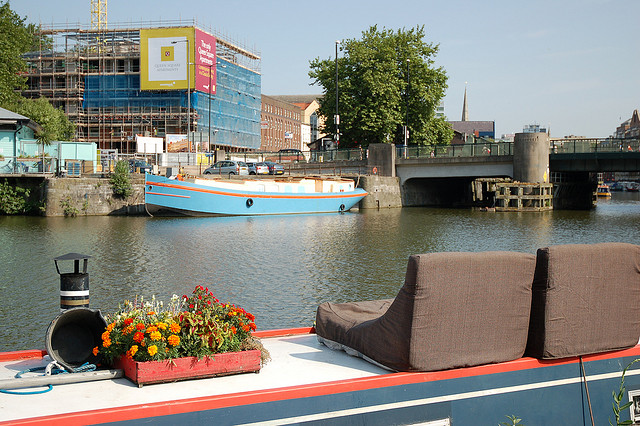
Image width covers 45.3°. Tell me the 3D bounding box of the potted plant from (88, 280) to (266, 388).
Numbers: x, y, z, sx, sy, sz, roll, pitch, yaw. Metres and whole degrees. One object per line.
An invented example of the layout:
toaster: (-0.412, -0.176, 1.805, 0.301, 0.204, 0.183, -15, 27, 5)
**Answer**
potted plant: (-1.840, 1.705, 10.496, 1.697, 1.416, 2.248, 3, -1, 4)

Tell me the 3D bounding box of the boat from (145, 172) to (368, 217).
boat: (-3.697, -0.752, 43.550, 14.893, 2.998, 3.706, -3, 7, -39)
